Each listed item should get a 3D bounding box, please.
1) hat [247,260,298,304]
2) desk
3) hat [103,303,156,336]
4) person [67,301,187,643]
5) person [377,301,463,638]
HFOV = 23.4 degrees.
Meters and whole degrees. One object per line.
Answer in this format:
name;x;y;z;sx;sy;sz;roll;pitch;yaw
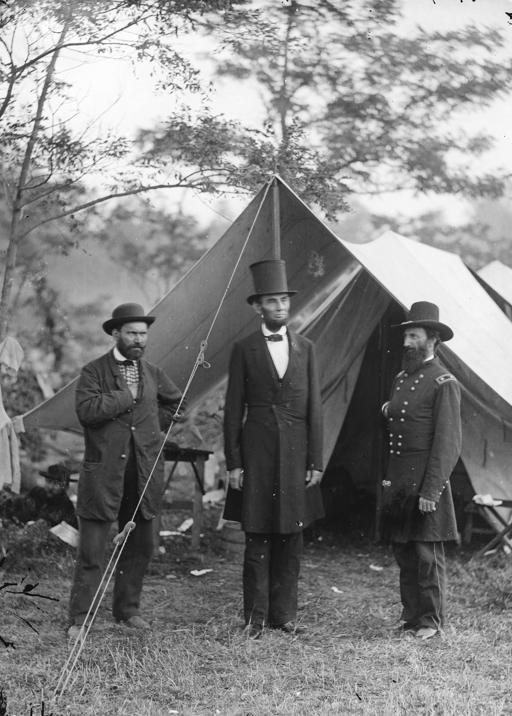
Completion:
hat;0.075;-0.439;7.111;0.333;0.204;0.311;-8;-5;40
desk;-0.572;0.993;8.775;0.569;0.670;0.547;5;-5;-17
hat;-0.762;-0.203;7.004;0.195;0.078;0.217;-5;-15;-29
person;-0.784;0.612;6.937;0.471;1.817;0.883;2;7;16
person;0.913;0.612;6.987;0.437;1.821;0.720;1;7;7
